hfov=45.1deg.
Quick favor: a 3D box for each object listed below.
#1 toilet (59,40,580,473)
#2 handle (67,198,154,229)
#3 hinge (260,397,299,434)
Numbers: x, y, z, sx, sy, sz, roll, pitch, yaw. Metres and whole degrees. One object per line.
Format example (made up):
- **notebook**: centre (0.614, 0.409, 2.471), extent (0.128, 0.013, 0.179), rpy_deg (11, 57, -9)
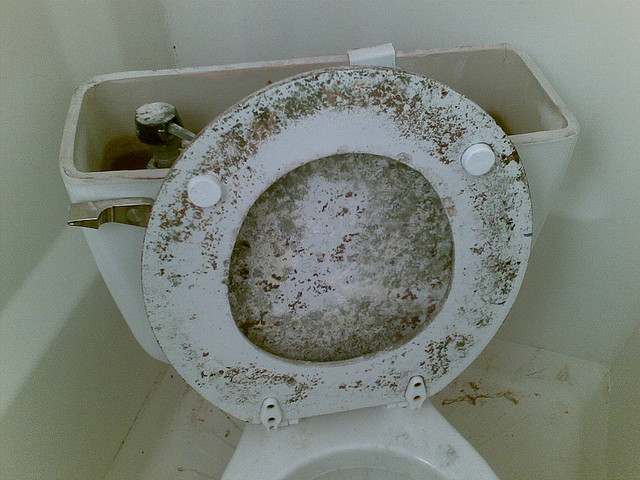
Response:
- **toilet**: centre (0.008, -0.047, 1.560), extent (0.687, 0.863, 0.774), rpy_deg (-4, 27, -2)
- **handle**: centre (-0.322, -0.038, 1.202), extent (0.129, 0.035, 0.038), rpy_deg (-4, 68, -5)
- **hinge**: centre (-0.070, 0.292, 1.345), extent (0.061, 0.074, 0.038), rpy_deg (-8, 37, -12)
